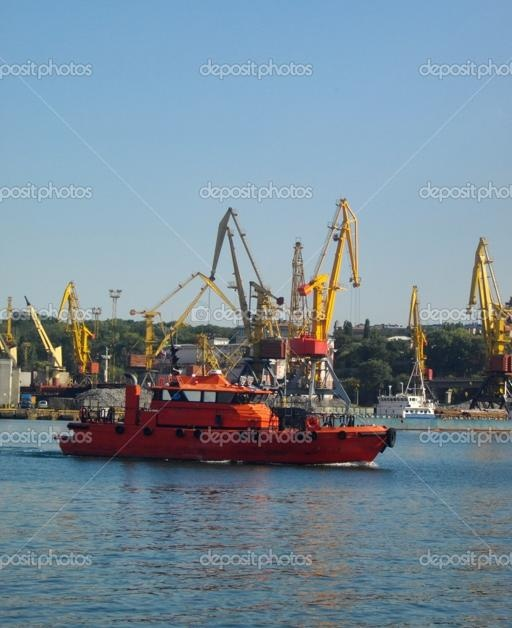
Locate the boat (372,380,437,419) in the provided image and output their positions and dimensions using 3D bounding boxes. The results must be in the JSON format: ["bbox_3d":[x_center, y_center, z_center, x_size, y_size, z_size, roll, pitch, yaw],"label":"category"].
[{"bbox_3d":[9.876,5.649,104.181,2.492,2.121,4.549,0,-5,7],"label":"boat"}]

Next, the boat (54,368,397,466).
[{"bbox_3d":[-1.115,3.457,49.448,9.701,2.399,1.906,1,-6,6],"label":"boat"}]
